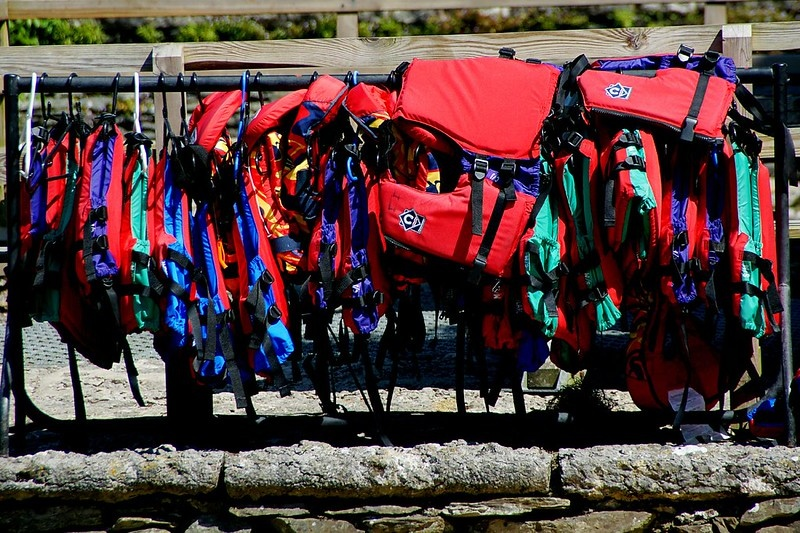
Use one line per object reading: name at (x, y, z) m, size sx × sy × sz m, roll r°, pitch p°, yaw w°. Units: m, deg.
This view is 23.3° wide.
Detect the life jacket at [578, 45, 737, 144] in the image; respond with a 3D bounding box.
life jacket at (1.630, -1.081, 12.254) m, size 0.712 × 0.290 × 0.738 m, roll 8°, pitch 52°, yaw 6°
